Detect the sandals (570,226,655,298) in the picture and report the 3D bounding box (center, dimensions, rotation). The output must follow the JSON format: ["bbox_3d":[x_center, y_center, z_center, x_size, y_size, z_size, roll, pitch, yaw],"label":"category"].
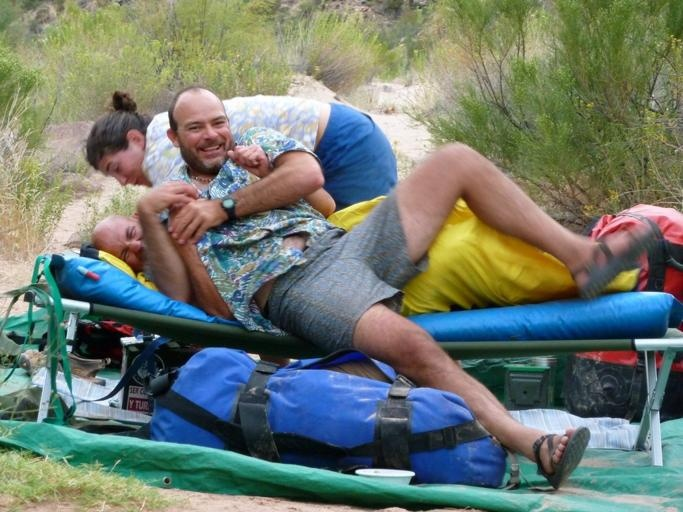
[{"bbox_3d":[1.413,-0.012,4.164,0.588,0.200,0.252,-31,15,-14],"label":"sandals"}]

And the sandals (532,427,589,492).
[{"bbox_3d":[1.013,0.930,3.714,0.176,0.367,0.142,3,17,-39],"label":"sandals"}]

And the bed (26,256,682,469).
[{"bbox_3d":[0.068,0.428,4.366,2.837,0.430,1.374,2,-4,2],"label":"bed"}]

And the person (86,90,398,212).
[{"bbox_3d":[-0.594,-0.819,5.329,1.740,0.848,0.991,-4,-31,14],"label":"person"}]
